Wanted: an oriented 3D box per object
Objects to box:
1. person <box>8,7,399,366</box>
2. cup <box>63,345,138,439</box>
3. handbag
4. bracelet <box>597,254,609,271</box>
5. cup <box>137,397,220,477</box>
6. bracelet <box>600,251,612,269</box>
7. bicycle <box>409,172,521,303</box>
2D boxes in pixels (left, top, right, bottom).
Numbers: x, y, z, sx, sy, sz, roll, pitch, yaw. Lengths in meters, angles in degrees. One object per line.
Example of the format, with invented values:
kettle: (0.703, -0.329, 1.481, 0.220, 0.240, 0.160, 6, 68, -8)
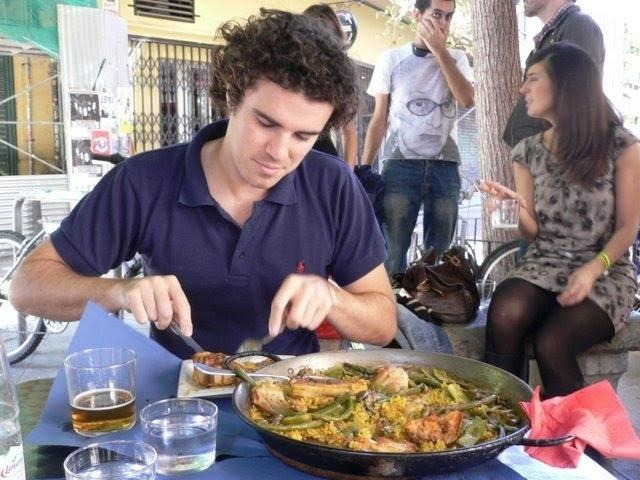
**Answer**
person: (-0.333, -0.143, 1.644, 1.193, 1.190, 0.762, 3, 12, 8)
cup: (-0.480, 0.344, 1.194, 0.166, 0.183, 0.165, 0, 5, 0)
handbag: (0.767, 0.269, 3.252, 0.381, 0.218, 0.536, 9, 11, 13)
bracelet: (1.545, 0.115, 2.771, 0.047, 0.076, 0.074, -20, 4, 0)
cup: (-0.282, 0.373, 1.013, 0.125, 0.102, 0.139, 1, -2, -1)
bracelet: (1.550, 0.104, 2.756, 0.051, 0.083, 0.077, -21, 16, 1)
bicycle: (1.000, -0.014, 4.319, 1.052, 1.131, 0.743, -2, 7, 0)
